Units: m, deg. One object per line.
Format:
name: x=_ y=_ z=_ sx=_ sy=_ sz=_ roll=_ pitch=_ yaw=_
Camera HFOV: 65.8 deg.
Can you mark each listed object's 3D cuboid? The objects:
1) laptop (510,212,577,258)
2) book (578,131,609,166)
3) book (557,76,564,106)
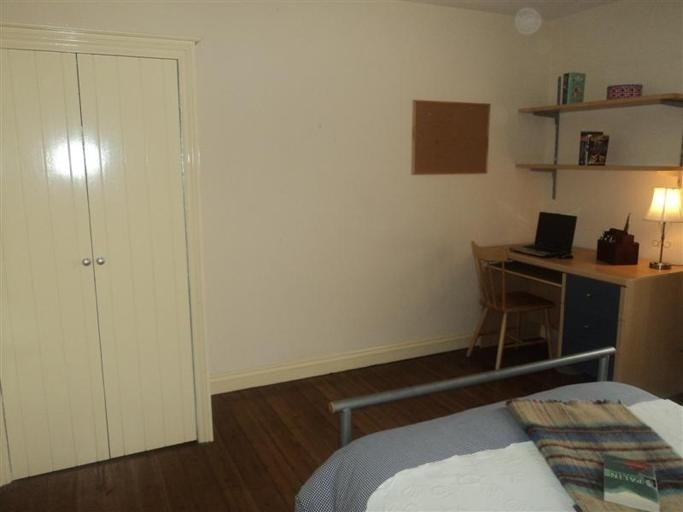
laptop: x=1.621 y=-0.155 z=4.133 sx=0.405 sy=0.335 sz=0.461 roll=-2 pitch=9 yaw=-24
book: x=1.895 y=-0.804 z=3.934 sx=0.198 sy=0.239 sz=0.224 roll=-15 pitch=19 yaw=-36
book: x=1.709 y=-1.285 z=4.101 sx=0.046 sy=0.189 sz=0.196 roll=6 pitch=11 yaw=24
